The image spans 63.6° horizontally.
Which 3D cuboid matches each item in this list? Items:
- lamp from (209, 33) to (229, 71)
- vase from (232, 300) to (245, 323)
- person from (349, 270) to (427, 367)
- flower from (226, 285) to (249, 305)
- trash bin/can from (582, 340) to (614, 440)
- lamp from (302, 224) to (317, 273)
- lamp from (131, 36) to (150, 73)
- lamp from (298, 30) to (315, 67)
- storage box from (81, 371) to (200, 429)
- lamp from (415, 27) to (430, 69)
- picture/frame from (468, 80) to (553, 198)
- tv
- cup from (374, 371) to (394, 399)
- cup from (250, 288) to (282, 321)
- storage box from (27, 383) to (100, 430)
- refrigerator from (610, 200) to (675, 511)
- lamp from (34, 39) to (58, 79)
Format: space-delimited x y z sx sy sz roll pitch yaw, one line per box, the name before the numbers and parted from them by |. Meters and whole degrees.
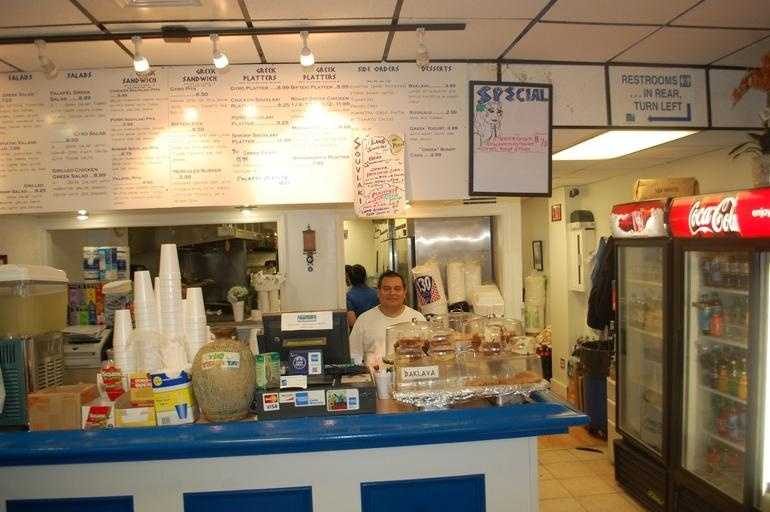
lamp | -1.141 -1.374 4.209 0.133 0.225 0.135 -5 8 6
vase | -1.544 0.591 6.597 0.097 0.217 0.170 -3 1 -21
person | 0.013 0.556 5.403 0.716 0.968 0.345 1 -9 -6
flower | -1.620 0.422 6.848 0.260 0.168 0.267 -13 9 -10
trash bin/can | 2.307 1.428 6.776 0.313 0.926 0.714 -3 1 16
lamp | -0.772 -0.066 6.425 0.140 0.473 0.038 -3 1 -11
lamp | -1.683 -1.349 4.301 0.106 0.255 0.393 -3 1 -20
lamp | -0.533 -1.392 4.293 0.080 0.225 0.318 -3 1 -3
storage box | -1.559 0.900 3.930 0.700 0.370 0.212 -3 1 15
lamp | 0.257 -1.414 4.238 0.096 0.251 0.092 -11 24 -20
picture/frame | 0.910 -0.895 4.587 0.843 1.135 0.081 -1 2 -3
tv | -0.552 0.605 4.159 0.622 0.462 0.334 3 -1 -26
cup | -0.007 0.862 4.135 0.159 0.191 0.152 -1 -5 0
cup | -1.210 0.486 6.396 0.409 0.443 0.408 0 -1 0
storage box | -2.283 1.090 4.513 0.241 0.382 0.379 3 -2 9
refrigerator | 2.286 0.845 5.457 0.414 2.346 0.868 -3 1 -4
lamp | -2.329 -1.331 4.291 0.119 0.259 0.362 -3 1 -25
